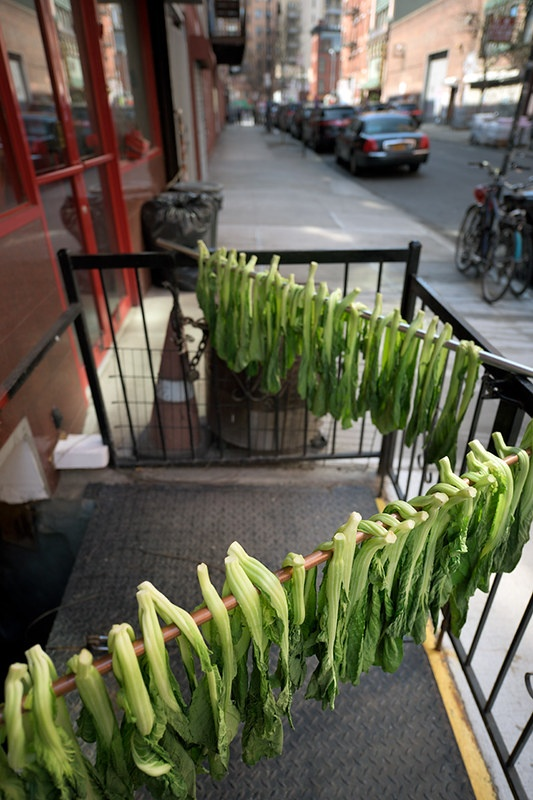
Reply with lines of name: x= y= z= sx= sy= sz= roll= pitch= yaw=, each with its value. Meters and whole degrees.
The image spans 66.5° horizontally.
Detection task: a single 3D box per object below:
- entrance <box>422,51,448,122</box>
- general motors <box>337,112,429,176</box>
entrance: x=6.187 y=-11.101 z=14.826 sx=0.114 sy=2.039 sz=0.969 roll=-30 pitch=42 yaw=-19
general motors: x=4.000 y=-9.033 z=14.778 sx=1.841 sy=1.977 sz=3.474 roll=-10 pitch=33 yaw=-17
